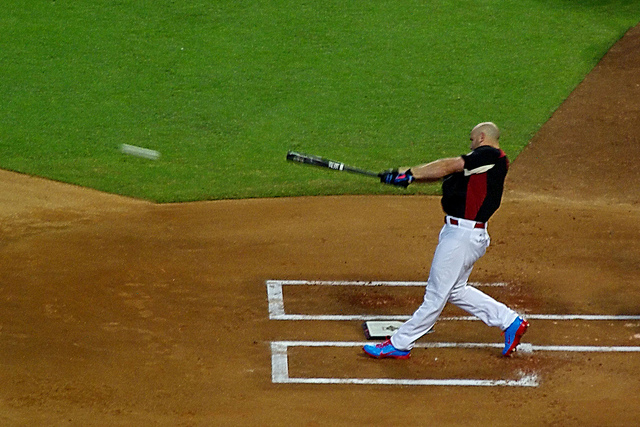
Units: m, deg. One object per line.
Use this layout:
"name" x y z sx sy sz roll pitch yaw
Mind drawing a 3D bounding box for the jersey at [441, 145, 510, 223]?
"jersey" 2.865 -0.517 25.461 1.259 1.489 1.217 7 2 -3

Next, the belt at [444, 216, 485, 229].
"belt" 2.704 0.223 25.095 0.368 0.091 0.365 12 6 -19

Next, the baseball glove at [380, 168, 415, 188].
"baseball glove" 1.461 -0.638 25.258 0.427 0.217 0.335 3 11 7

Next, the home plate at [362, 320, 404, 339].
"home plate" 1.169 2.243 25.807 0.502 0.062 0.365 1 35 -4
